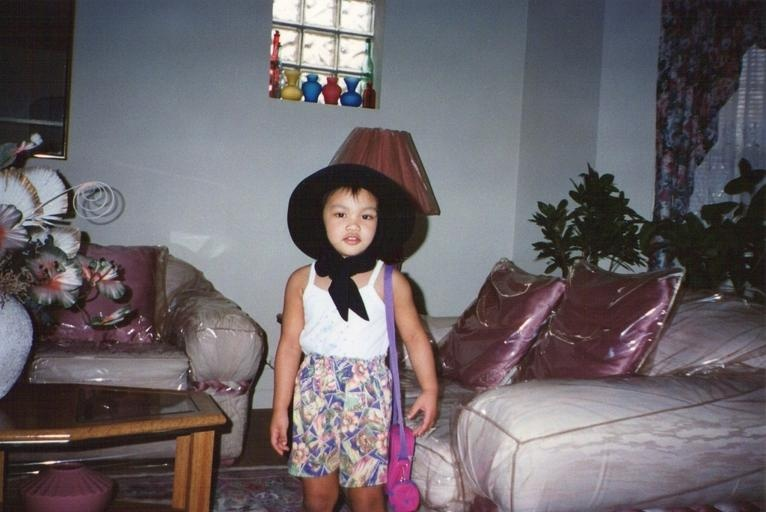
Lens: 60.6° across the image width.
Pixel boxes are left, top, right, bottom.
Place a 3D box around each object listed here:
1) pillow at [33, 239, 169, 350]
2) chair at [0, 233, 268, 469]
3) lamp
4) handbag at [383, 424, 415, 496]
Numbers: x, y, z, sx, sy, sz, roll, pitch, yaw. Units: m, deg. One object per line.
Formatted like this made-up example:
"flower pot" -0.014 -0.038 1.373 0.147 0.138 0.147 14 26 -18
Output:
"pillow" -1.278 0.129 3.104 0.523 0.549 0.235 3 -17 -22
"chair" -1.126 0.444 3.338 1.054 0.794 1.048 1 0 -9
"lamp" -0.005 -0.522 3.743 0.653 0.439 0.727 11 25 10
"handbag" 0.049 0.687 2.201 0.102 0.320 0.213 3 -8 2
